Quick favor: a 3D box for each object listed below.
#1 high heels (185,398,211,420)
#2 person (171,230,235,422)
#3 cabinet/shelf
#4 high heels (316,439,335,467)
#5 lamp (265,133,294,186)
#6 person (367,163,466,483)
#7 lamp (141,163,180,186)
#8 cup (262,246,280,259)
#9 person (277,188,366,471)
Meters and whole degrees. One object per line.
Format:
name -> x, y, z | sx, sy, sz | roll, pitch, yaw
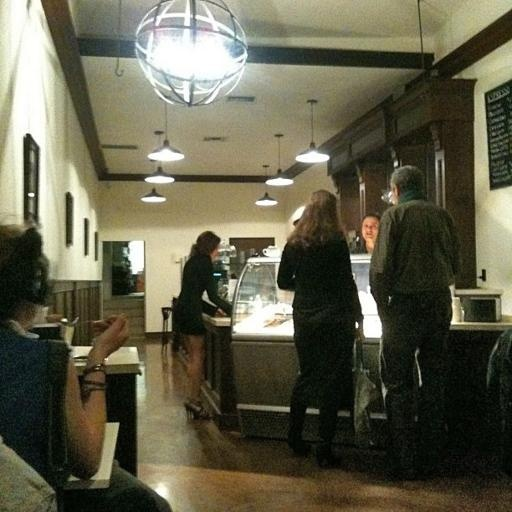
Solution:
high heels -> -0.445, 1.194, 4.369 | 0.093, 0.149, 0.291 | 0, 8, -22
person -> -0.404, 0.524, 4.431 | 0.468, 1.447, 0.347 | -1, -1, 11
cabinet/shelf -> 0.415, 0.658, 3.939 | 1.200, 1.443, 0.977 | 0, -2, 14
high heels -> 0.384, 1.094, 3.189 | 0.142, 0.166, 0.075 | -1, 4, -19
lamp -> 0.339, -1.336, 8.187 | 0.536, 1.035, 0.577 | 0, 0, 4
person -> 0.869, 0.317, 3.104 | 0.502, 1.670, 0.303 | -1, -1, 5
lamp -> -1.627, -1.402, 9.561 | 0.509, 0.326, 0.526 | -5, -7, 44
cup -> 0.125, -0.032, 4.144 | 0.108, 0.098, 0.086 | -1, 0, 0
person -> 0.358, 0.394, 3.258 | 0.509, 1.548, 0.228 | -1, -1, 40
